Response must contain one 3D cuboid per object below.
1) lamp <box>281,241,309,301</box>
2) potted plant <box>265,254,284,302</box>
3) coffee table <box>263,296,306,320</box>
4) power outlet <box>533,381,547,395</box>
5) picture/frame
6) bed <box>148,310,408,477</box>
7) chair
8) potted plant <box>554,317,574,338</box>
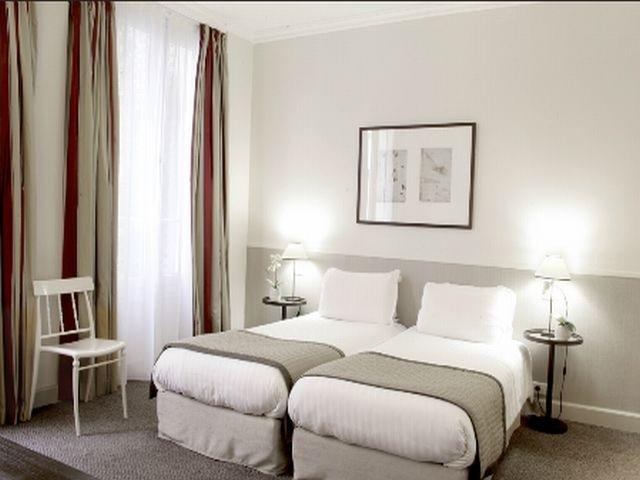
[{"bbox_3d":[-0.289,0.333,5.732,0.273,0.633,0.471,1,10,-4],"label":"lamp"},{"bbox_3d":[-0.524,0.434,5.807,0.199,0.515,0.168,2,1,10],"label":"potted plant"},{"bbox_3d":[-0.388,0.676,5.594,0.298,0.372,0.308,0,0,-12],"label":"coffee table"},{"bbox_3d":[1.983,1.329,4.688,0.148,0.117,0.086,0,-1,28],"label":"power outlet"},{"bbox_3d":[0.993,-0.646,5.138,0.987,0.936,0.040,3,3,29],"label":"picture/frame"},{"bbox_3d":[-0.305,1.118,4.275,0.922,0.533,1.572,1,1,38],"label":"bed"},{"bbox_3d":[-2.011,0.926,4.324,0.723,1.201,0.746,1,3,-10],"label":"chair"},{"bbox_3d":[2.057,0.749,4.361,0.163,0.180,0.171,4,10,12],"label":"potted plant"}]
